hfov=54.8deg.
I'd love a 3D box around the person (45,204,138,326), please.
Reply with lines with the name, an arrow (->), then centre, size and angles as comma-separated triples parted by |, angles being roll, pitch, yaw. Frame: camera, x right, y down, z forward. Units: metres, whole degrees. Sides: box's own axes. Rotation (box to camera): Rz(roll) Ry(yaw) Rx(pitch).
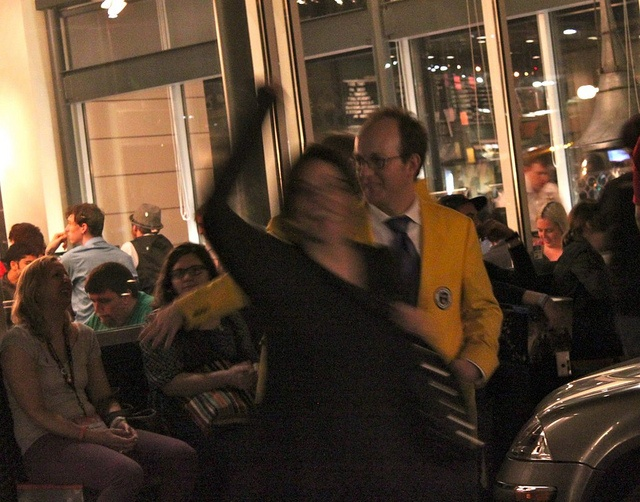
person -> -1.130, 0.237, 3.101 | 0.304, 0.903, 0.327 | -10, 13, -43

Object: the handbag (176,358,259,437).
handbag -> -0.411, 0.576, 2.515 | 0.297, 0.100, 0.334 | 0, 23, -35

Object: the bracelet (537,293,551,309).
bracelet -> 1.099, 0.242, 3.013 | 0.024, 0.051, 0.064 | 16, -46, -25

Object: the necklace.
necklace -> -0.960, 0.455, 2.336 | 0.100, 0.349, 0.037 | -9, -16, -35

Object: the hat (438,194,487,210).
hat -> 0.744, -0.255, 3.207 | 0.285, 0.096, 0.184 | -5, 4, -8
